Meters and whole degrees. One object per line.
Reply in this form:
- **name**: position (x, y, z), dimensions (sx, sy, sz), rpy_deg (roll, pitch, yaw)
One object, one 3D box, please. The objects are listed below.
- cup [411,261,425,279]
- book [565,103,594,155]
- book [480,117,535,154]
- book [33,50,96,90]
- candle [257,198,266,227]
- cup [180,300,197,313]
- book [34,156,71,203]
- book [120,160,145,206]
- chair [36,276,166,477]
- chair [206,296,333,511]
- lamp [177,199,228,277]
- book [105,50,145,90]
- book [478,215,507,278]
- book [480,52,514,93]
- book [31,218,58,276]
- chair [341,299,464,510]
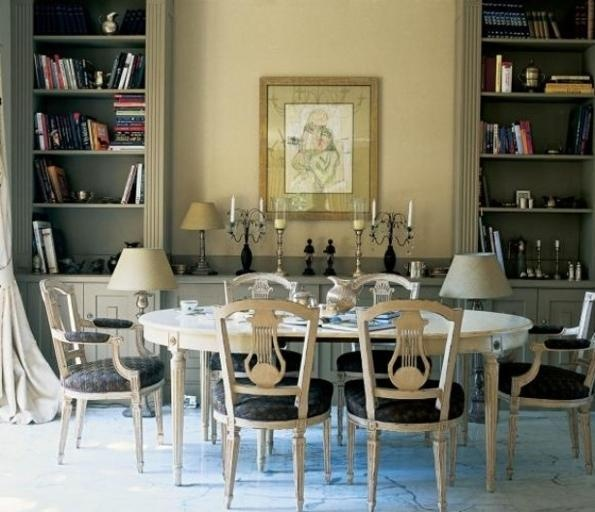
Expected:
- **cup**: position (0.894, 0.112, 5.619), dimensions (0.135, 0.133, 0.087), rpy_deg (0, -1, -11)
- **book**: position (2.158, -0.962, 5.671), dimensions (0.146, 0.424, 0.394), rpy_deg (-2, 4, 8)
- **book**: position (1.618, -0.907, 5.707), dimensions (0.308, 0.303, 0.122), rpy_deg (1, 0, 3)
- **book**: position (-1.800, -1.420, 5.736), dimensions (0.356, 0.159, 0.490), rpy_deg (1, -1, -7)
- **candle**: position (-0.272, -0.341, 5.846), dimensions (0.055, 0.224, 0.169), rpy_deg (0, 8, -4)
- **cup**: position (-0.651, 0.304, 4.515), dimensions (0.087, 0.061, 0.088), rpy_deg (0, -8, 0)
- **book**: position (-1.896, -0.580, 5.759), dimensions (0.073, 0.322, 0.316), rpy_deg (-6, -6, 23)
- **book**: position (-1.251, -0.545, 5.749), dimensions (0.062, 0.280, 0.264), rpy_deg (8, 1, -8)
- **chair**: position (-1.158, 0.703, 4.554), dimensions (0.752, 1.088, 0.736), rpy_deg (-1, 3, -21)
- **chair**: position (-0.142, 0.733, 4.033), dimensions (0.649, 1.138, 0.642), rpy_deg (2, 9, 11)
- **lamp**: position (-0.732, -0.131, 5.774), dimensions (0.312, 0.561, 0.389), rpy_deg (-1, 8, -7)
- **book**: position (-1.286, -1.398, 5.691), dimensions (0.263, 0.287, 0.093), rpy_deg (5, 1, -3)
- **book**: position (1.396, -0.057, 5.323), dimensions (0.213, 0.415, 0.425), rpy_deg (-5, 4, 13)
- **book**: position (1.531, -1.335, 5.717), dimensions (0.247, 0.341, 0.344), rpy_deg (1, 1, 18)
- **book**: position (-1.935, -0.069, 5.717), dimensions (0.162, 0.396, 0.199), rpy_deg (-4, 9, -26)
- **chair**: position (0.582, 0.738, 4.068), dimensions (0.642, 1.137, 0.667), rpy_deg (1, 8, 3)
